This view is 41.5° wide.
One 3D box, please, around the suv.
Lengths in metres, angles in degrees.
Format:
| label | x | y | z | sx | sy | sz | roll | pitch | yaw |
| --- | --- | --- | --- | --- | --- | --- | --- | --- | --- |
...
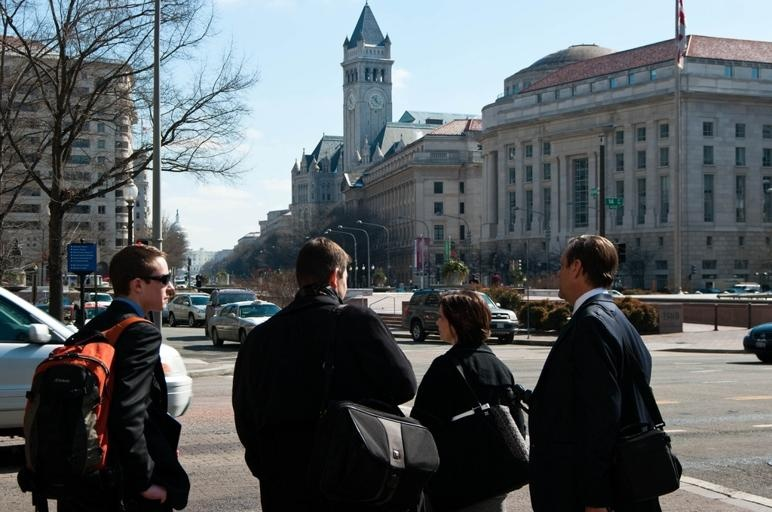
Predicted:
| label | x | y | z | sx | sy | sz | roll | pitch | yaw |
| --- | --- | --- | --- | --- | --- | --- | --- | --- | --- |
| suv | 2.334 | 2.134 | 36.837 | 2.133 | 1.784 | 4.318 | 2 | -6 | -38 |

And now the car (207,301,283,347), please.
| label | x | y | z | sx | sy | sz | roll | pitch | yaw |
| --- | --- | --- | --- | --- | --- | --- | --- | --- | --- |
| car | -4.665 | 2.183 | 34.085 | 2.193 | 1.508 | 4.606 | 1 | -6 | -31 |

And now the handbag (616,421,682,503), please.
| label | x | y | z | sx | sy | sz | roll | pitch | yaw |
| --- | --- | --- | --- | --- | --- | --- | --- | --- | --- |
| handbag | 2.879 | 2.318 | 11.332 | 0.681 | 0.929 | 0.539 | -2 | 1 | 1 |
